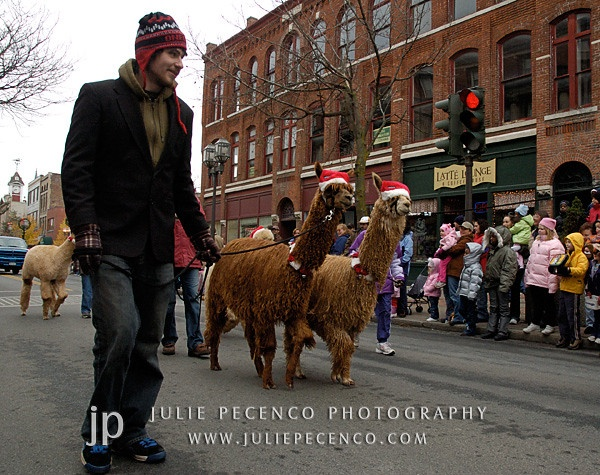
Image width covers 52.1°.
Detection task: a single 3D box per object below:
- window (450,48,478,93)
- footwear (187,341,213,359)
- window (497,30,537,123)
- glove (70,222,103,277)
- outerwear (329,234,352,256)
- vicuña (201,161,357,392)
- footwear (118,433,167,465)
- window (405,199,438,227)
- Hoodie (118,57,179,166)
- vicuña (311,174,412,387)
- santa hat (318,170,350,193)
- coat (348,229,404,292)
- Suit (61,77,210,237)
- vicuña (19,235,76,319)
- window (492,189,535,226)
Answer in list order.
[{"bbox_3d":[5.308,-5.390,19.660,0.245,1.324,1.131,1,1,-30],"label":"window"},{"bbox_3d":[-1.410,1.531,8.311,0.457,0.178,0.206,-11,-14,41],"label":"footwear"},{"bbox_3d":[6.476,-4.777,18.205,0.282,2.678,1.140,1,1,-31],"label":"window"},{"bbox_3d":[-1.555,0.084,4.310,0.186,0.255,0.136,1,1,-21],"label":"glove"},{"bbox_3d":[0.749,0.144,11.728,0.212,0.366,0.378,23,9,14],"label":"outerwear"},{"bbox_3d":[-0.328,0.567,7.062,0.936,2.258,2.912,7,-5,-30],"label":"vicuña"},{"bbox_3d":[-1.267,1.599,4.645,0.420,0.165,0.163,1,-10,22],"label":"footwear"},{"bbox_3d":[4.139,-0.823,20.602,0.254,0.890,0.952,6,-4,-41],"label":"window"},{"bbox_3d":[-1.237,-0.974,4.888,0.669,0.880,0.360,3,15,-13],"label":"Hoodie"},{"bbox_3d":[0.524,0.571,7.484,0.769,2.320,2.518,13,-13,-29],"label":"vicuña"},{"bbox_3d":[0.339,-0.627,6.706,0.297,0.161,0.221,7,9,43],"label":"santa hat"},{"bbox_3d":[0.913,0.295,7.469,0.917,0.868,0.520,5,-2,5],"label":"coat"},{"bbox_3d":[-1.315,-0.574,4.536,0.733,1.329,1.263,-1,-2,41],"label":"Suit"},{"bbox_3d":[-5.055,0.792,12.034,2.073,1.622,0.600,2,0,43],"label":"vicuña"},{"bbox_3d":[5.417,-0.782,15.299,0.140,0.781,1.122,18,-15,-25],"label":"window"}]
